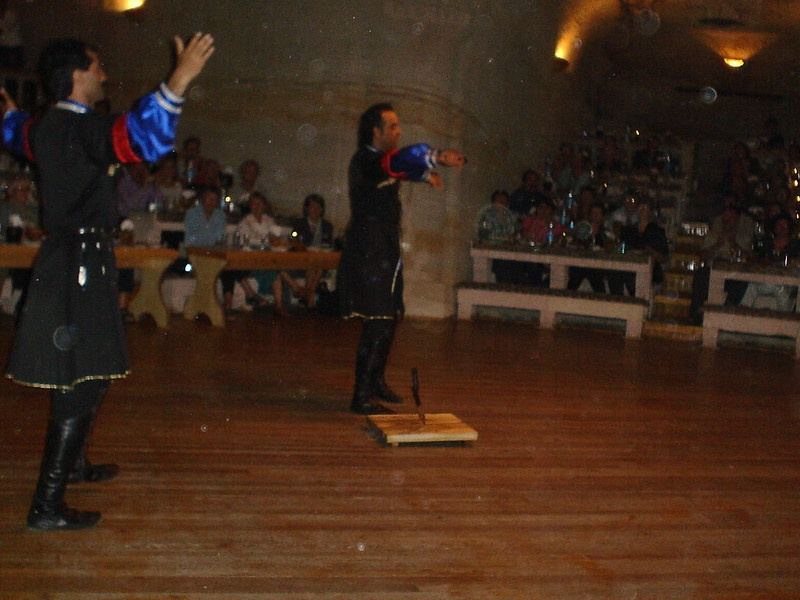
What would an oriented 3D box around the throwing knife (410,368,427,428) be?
[{"bbox_3d":[0.111,0.666,6.636,0.070,0.461,0.037,-1,27,12],"label":"throwing knife"}]
